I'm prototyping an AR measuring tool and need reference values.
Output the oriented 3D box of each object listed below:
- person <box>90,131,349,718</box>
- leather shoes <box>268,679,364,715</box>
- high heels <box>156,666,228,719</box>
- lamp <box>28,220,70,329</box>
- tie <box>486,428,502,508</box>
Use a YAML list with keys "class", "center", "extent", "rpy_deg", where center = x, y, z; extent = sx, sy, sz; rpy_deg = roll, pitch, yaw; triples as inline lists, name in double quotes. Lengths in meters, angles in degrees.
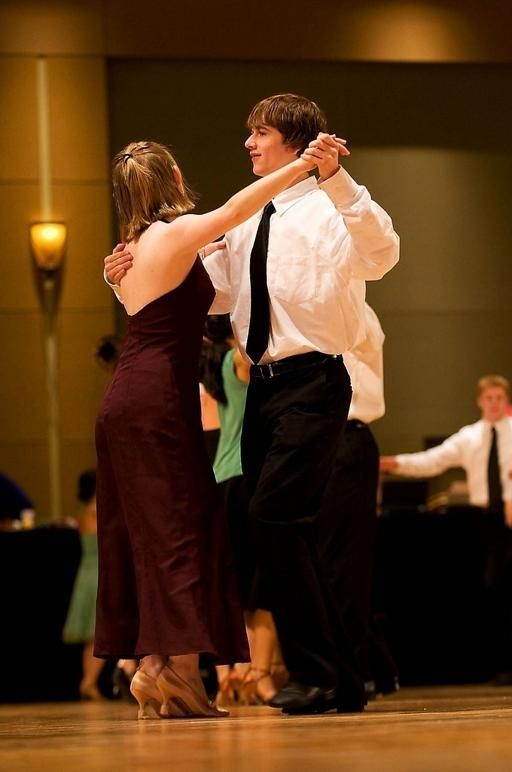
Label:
- class: "person"
  center: [-0.150, 0.101, 1.839]
  extent: [0.431, 1.323, 0.474]
  rpy_deg: [-8, 8, -43]
- class: "leather shoes"
  center: [0.133, 0.714, 1.909]
  extent: [0.215, 0.089, 0.078]
  rpy_deg: [6, -23, -10]
- class: "high heels"
  center: [-0.145, 0.660, 1.795]
  extent: [0.213, 0.116, 0.070]
  rpy_deg: [17, -18, -42]
- class: "lamp"
  center: [-1.058, -0.584, 4.325]
  extent: [0.168, 0.582, 0.757]
  rpy_deg: [-4, 6, -11]
- class: "tie"
  center: [1.093, 0.361, 3.838]
  extent: [0.062, 0.304, 0.281]
  rpy_deg: [-1, 6, 15]
